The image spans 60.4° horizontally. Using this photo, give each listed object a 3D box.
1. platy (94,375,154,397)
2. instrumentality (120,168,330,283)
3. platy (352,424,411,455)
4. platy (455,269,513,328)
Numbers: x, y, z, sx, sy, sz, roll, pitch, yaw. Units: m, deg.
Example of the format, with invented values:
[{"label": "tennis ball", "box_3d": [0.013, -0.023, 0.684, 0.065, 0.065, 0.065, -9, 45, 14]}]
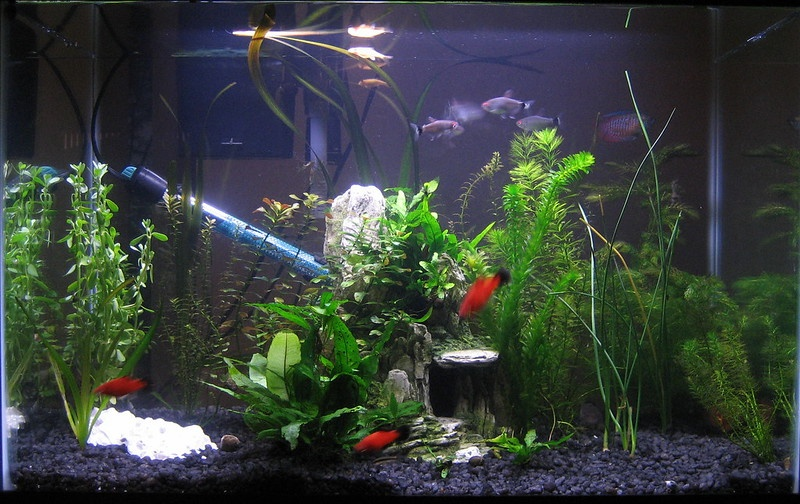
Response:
[{"label": "platy", "box_3d": [-1.830, 0.897, 4.550, 0.345, 0.101, 0.124, -5, -4, -16]}, {"label": "instrumentality", "box_3d": [-1.303, -0.202, 4.846, 1.582, 0.220, 0.185, 24, -13, -2]}, {"label": "platy", "box_3d": [-0.133, 1.215, 4.422, 0.390, 0.148, 0.083, -20, 9, -19]}, {"label": "platy", "box_3d": [0.544, 0.294, 4.782, 0.231, 0.342, 0.440, 4, -9, -33]}]
